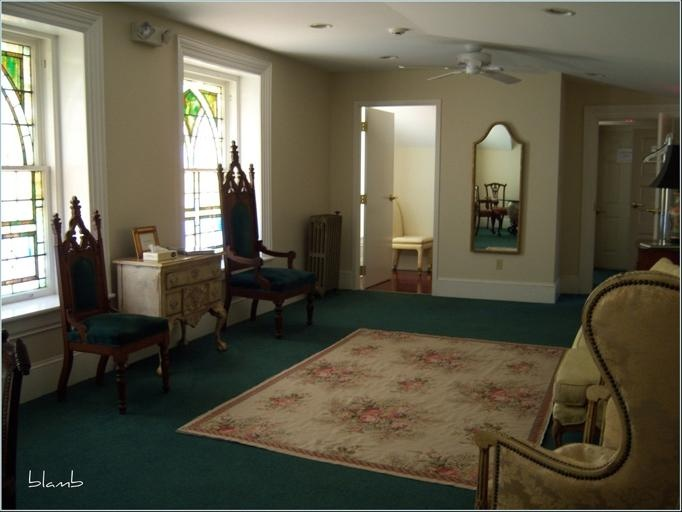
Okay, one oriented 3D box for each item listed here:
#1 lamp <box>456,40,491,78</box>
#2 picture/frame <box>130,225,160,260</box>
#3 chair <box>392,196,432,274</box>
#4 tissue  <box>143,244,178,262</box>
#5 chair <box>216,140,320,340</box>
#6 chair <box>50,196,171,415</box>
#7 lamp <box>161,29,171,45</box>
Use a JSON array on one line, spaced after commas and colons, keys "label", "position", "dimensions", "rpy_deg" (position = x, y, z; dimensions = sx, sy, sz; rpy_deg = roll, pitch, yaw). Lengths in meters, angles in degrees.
[{"label": "lamp", "position": [1.091, -1.642, 4.252], "dimensions": [0.252, 0.233, 0.279], "rpy_deg": [4, 10, 19]}, {"label": "picture/frame", "position": [-1.647, -0.126, 4.396], "dimensions": [0.327, 0.253, 0.027], "rpy_deg": [-5, 5, 34]}, {"label": "chair", "position": [1.096, -0.386, 8.499], "dimensions": [0.752, 1.213, 0.670], "rpy_deg": [2, 5, 23]}, {"label": "tissue ", "position": [-1.512, -0.015, 4.201], "dimensions": [0.202, 0.060, 0.151], "rpy_deg": [6, 13, 23]}, {"label": "chair", "position": [-0.760, -0.165, 5.232], "dimensions": [0.854, 1.766, 0.729], "rpy_deg": [3, 6, 21]}, {"label": "chair", "position": [-1.717, 0.302, 3.700], "dimensions": [0.753, 1.435, 0.558], "rpy_deg": [5, 11, 27]}, {"label": "lamp", "position": [-1.529, -1.925, 4.503], "dimensions": [0.043, 0.114, 0.099], "rpy_deg": [4, 0, 13]}]
